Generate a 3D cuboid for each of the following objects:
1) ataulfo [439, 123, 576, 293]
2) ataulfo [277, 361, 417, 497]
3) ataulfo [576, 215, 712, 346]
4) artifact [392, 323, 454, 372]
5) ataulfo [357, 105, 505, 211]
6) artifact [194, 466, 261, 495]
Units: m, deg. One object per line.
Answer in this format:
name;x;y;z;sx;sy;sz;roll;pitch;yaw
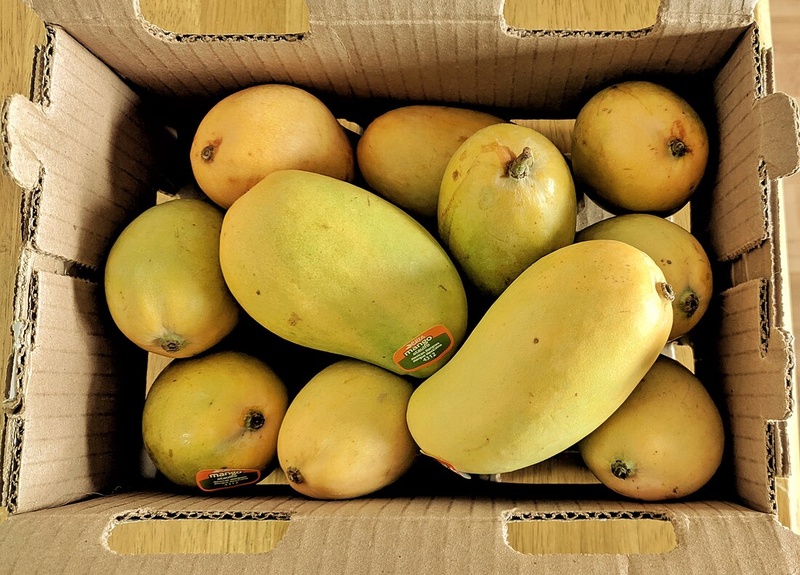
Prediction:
ataulfo;0.123;-0.091;0.951;0.118;0.133;0.158;21;99;-4
ataulfo;-0.057;0.162;0.993;0.166;0.123;0.132;-25;95;-33
ataulfo;0.317;-0.036;1.014;0.122;0.127;0.162;-31;48;-14
artifact;0.029;0.071;0.919;0.070;0.015;0.039;-32;112;-6
ataulfo;0.028;-0.165;1.076;0.179;0.107;0.111;21;102;28
artifact;-0.212;0.231;0.969;0.063;0.011;0.034;0;117;-14
